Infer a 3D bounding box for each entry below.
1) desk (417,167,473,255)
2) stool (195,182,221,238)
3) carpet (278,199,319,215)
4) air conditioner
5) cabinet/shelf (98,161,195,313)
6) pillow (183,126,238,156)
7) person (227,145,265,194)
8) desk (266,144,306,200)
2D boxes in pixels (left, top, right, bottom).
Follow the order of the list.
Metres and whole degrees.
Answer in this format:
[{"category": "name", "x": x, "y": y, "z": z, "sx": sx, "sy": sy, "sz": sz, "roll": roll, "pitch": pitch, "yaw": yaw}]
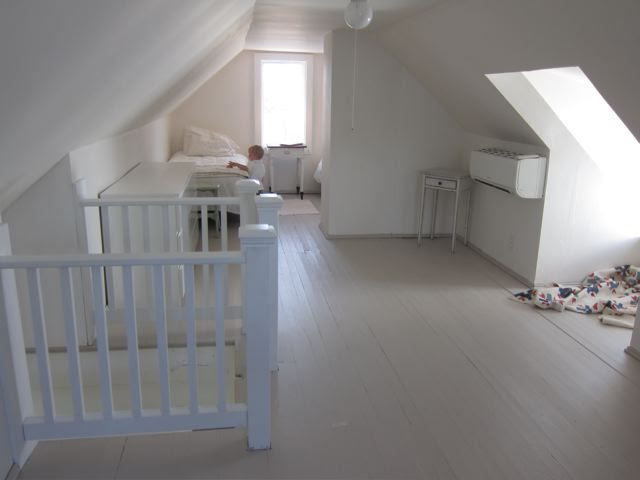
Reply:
[{"category": "desk", "x": 1.413, "y": -0.405, "z": 5.122, "sx": 0.569, "sy": 0.788, "sz": 0.578, "roll": 2, "pitch": 11, "yaw": 21}, {"category": "stool", "x": -1.366, "y": -0.363, "z": 5.618, "sx": 0.277, "sy": 0.616, "sz": 0.888, "roll": -4, "pitch": 8, "yaw": -13}, {"category": "carpet", "x": -0.304, "y": -0.487, "z": 6.803, "sx": 0.554, "sy": 0.176, "sz": 0.959, "roll": -2, "pitch": 8, "yaw": -1}, {"category": "air conditioner", "x": 1.732, "y": -0.636, "z": 4.333, "sx": 0.231, "sy": 0.415, "sz": 0.807, "roll": -6, "pitch": 18, "yaw": -11}, {"category": "cabinet/shelf", "x": -1.111, "y": -0.006, "z": 2.877, "sx": 0.314, "sy": 0.587, "sz": 0.944, "roll": -3, "pitch": 22, "yaw": -9}, {"category": "pillow", "x": -1.656, "y": -1.406, "z": 6.780, "sx": 0.584, "sy": 0.581, "sz": 0.189, "roll": 5, "pitch": -38, "yaw": -23}, {"category": "person", "x": -0.879, "y": -0.762, "z": 5.475, "sx": 0.413, "sy": 0.757, "sz": 0.296, "roll": -2, "pitch": 22, "yaw": -20}, {"category": "desk", "x": -0.516, "y": -1.098, "z": 7.402, "sx": 0.707, "sy": 1.123, "sz": 0.767, "roll": -2, "pitch": 21, "yaw": -6}]
